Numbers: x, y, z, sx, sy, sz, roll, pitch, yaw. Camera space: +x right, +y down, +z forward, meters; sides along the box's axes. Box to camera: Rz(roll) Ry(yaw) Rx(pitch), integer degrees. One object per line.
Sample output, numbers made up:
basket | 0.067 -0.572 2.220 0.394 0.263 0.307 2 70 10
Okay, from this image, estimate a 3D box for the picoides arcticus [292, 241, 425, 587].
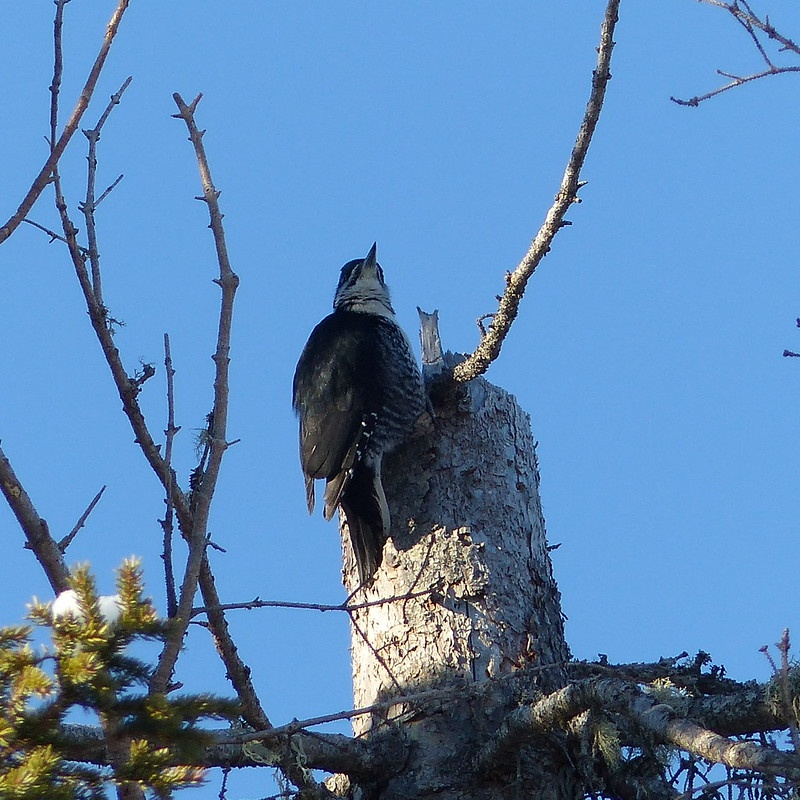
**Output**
picoides arcticus | -0.132 0.182 8.295 0.444 1.437 0.609 25 -55 -31
